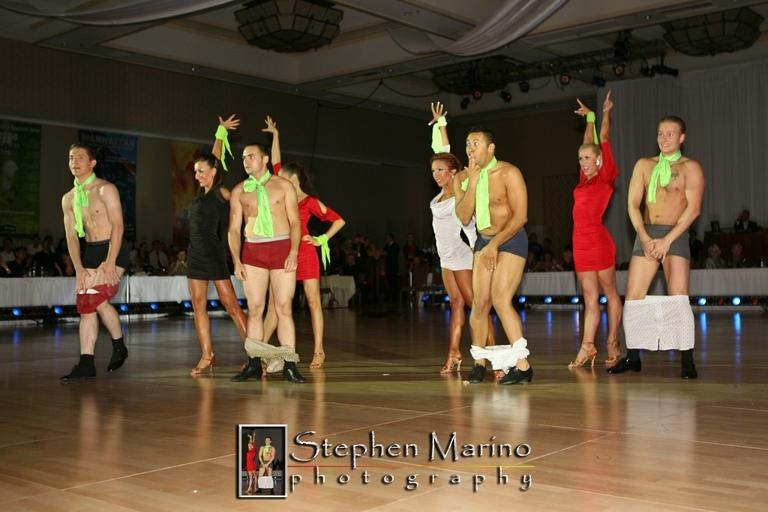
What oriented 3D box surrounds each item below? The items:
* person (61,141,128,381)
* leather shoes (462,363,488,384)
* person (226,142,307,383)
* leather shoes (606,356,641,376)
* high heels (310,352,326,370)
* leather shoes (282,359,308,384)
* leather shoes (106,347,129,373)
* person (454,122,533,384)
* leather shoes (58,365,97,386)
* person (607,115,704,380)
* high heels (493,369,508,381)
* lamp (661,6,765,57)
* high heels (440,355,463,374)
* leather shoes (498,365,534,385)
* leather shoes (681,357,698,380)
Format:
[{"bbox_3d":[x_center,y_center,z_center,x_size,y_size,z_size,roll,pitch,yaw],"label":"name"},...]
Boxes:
[{"bbox_3d":[-2.678,0.016,6.083,0.545,2.155,0.566,1,-2,-23],"label":"person"},{"bbox_3d":[0.781,0.991,5.553,0.095,0.119,0.277,-3,-6,27],"label":"leather shoes"},{"bbox_3d":[-1.035,0.053,5.745,0.688,2.047,0.367,0,-2,-4],"label":"person"},{"bbox_3d":[2.138,0.973,5.802,0.317,0.156,0.125,1,-3,-7],"label":"leather shoes"},{"bbox_3d":[-0.662,1.041,6.537,0.090,0.115,0.270,-1,-9,4],"label":"high heels"},{"bbox_3d":[-0.774,0.980,5.611,0.216,0.171,0.156,0,-2,4],"label":"leather shoes"},{"bbox_3d":[-2.529,0.979,6.202,0.110,0.152,0.355,-4,-7,4],"label":"leather shoes"},{"bbox_3d":[0.905,-0.001,5.428,0.588,2.085,0.336,-1,-2,15],"label":"person"},{"bbox_3d":[-2.716,1.066,5.855,0.330,0.154,0.120,3,0,-18],"label":"leather shoes"},{"bbox_3d":[2.415,-0.115,5.775,0.711,2.266,0.468,-1,-2,28],"label":"person"},{"bbox_3d":[1.006,1.030,5.685,0.078,0.112,0.140,0,-9,-2],"label":"high heels"},{"bbox_3d":[6.204,-4.312,12.392,1.681,0.560,1.014,-1,-2,18],"label":"lamp"},{"bbox_3d":[0.615,1.014,6.076,0.093,0.172,0.304,-9,-14,36],"label":"high heels"},{"bbox_3d":[1.086,0.982,5.409,0.303,0.159,0.116,1,-4,-19],"label":"leather shoes"},{"bbox_3d":[2.568,0.947,5.535,0.121,0.254,0.132,-5,5,-27],"label":"leather shoes"}]
